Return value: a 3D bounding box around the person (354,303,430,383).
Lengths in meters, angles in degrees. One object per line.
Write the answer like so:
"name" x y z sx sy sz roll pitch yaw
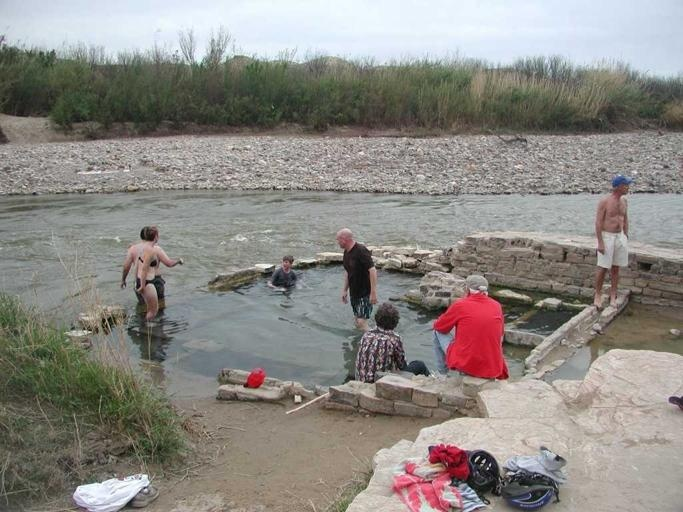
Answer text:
"person" 0.808 1.273 8.749 0.809 1.109 1.170 4 5 35

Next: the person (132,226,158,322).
"person" -3.455 0.302 10.860 0.464 1.578 0.672 -6 16 -18

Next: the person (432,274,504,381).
"person" 1.804 0.883 8.500 0.980 1.231 1.720 1 8 -5

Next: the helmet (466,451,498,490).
"helmet" 1.386 2.101 5.936 0.281 0.354 0.229 2 -23 -5

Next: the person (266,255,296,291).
"person" -1.148 0.349 12.480 0.557 0.749 0.514 5 12 3

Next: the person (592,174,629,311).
"person" 4.855 -0.286 10.881 0.594 2.310 1.190 7 17 25
